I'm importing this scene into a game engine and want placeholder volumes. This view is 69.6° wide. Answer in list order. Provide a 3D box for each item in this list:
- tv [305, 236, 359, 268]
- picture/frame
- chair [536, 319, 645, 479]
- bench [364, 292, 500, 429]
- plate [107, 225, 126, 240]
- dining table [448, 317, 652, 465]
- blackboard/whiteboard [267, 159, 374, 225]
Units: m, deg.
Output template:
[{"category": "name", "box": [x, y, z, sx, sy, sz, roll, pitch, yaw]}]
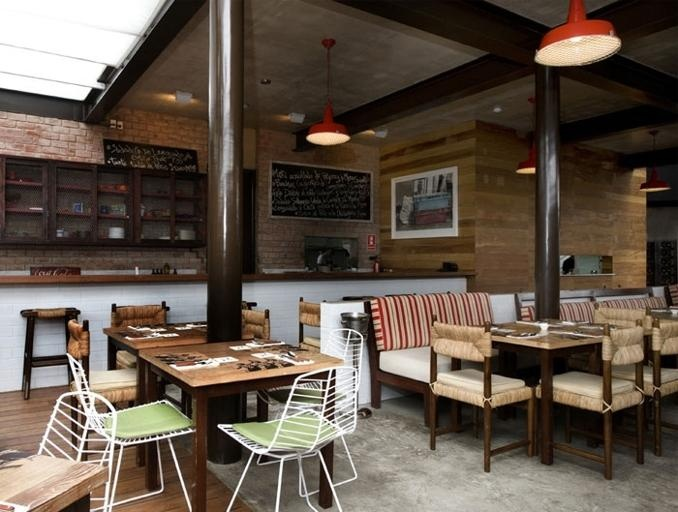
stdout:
[{"category": "tv", "box": [-0.186, -0.050, 9.866, 1.347, 0.654, 0.665, 0, 2, -30]}, {"category": "picture/frame", "box": [1.669, -0.998, 9.574, 0.258, 1.364, 1.580, -4, 6, -37]}, {"category": "chair", "box": [2.100, 1.099, 3.975, 0.739, 1.145, 0.615, -4, 7, -44]}, {"category": "bench", "box": [1.440, 1.033, 5.577, 2.141, 1.072, 0.988, -3, 6, -35]}, {"category": "plate", "box": [-3.467, -0.356, 7.611, 0.237, 0.132, 0.222, 3, -2, -34]}, {"category": "dining table", "box": [1.937, 1.122, 4.499, 1.310, 1.045, 1.465, 1, -1, -43]}, {"category": "blackboard/whiteboard", "box": [-0.361, -1.234, 9.746, 2.751, 1.112, 0.121, -4, 10, -44]}]
